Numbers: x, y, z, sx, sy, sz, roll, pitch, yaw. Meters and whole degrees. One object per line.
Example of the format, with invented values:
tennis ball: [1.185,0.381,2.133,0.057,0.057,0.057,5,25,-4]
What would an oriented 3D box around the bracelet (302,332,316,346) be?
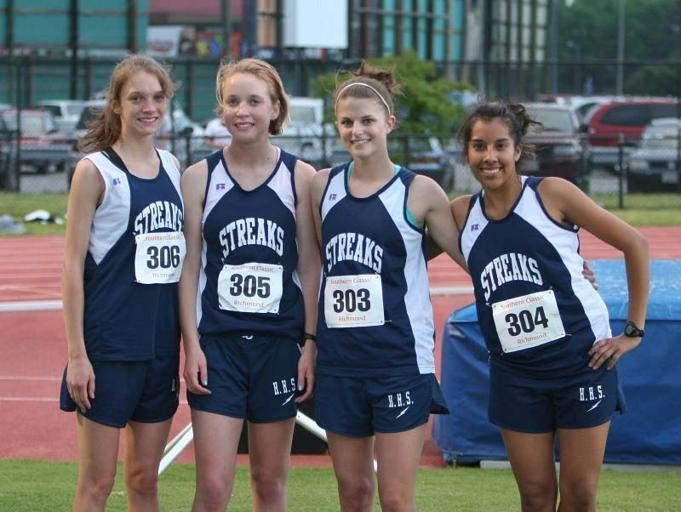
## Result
bracelet: [-0.171,0.441,5.328,0.056,0.061,0.036,-6,-13,-1]

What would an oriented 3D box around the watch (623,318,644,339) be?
watch: [1.525,0.387,5.251,0.108,0.071,0.109,11,4,-18]
